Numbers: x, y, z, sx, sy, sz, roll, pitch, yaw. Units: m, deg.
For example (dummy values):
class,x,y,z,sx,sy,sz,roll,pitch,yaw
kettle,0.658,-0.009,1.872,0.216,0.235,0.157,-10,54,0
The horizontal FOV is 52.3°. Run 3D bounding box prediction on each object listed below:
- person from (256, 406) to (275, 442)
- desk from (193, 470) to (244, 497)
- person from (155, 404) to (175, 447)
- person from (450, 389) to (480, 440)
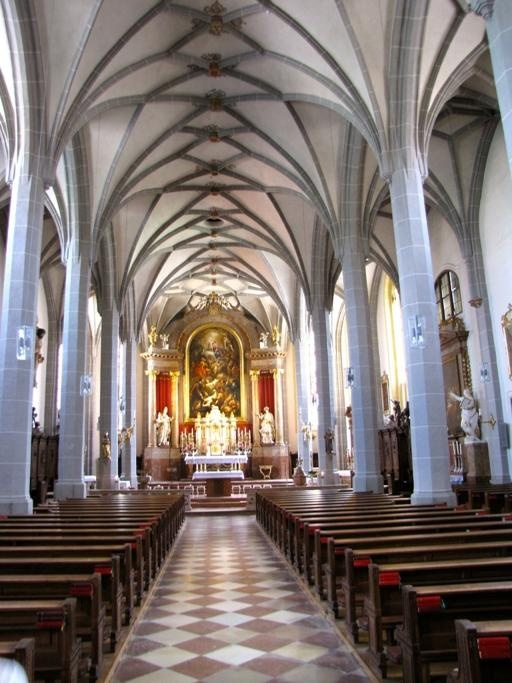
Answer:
class,x,y,z,sx,sy,sz,roll,pitch,yaw
person,0.548,4.603,28.471,0.829,1.992,0.752,-7,-11,19
desk,-1.326,5.405,20.004,1.592,0.932,1.570,-3,-11,-2
person,-4.992,4.595,28.574,0.933,2.261,1.387,-1,-11,-10
person,5.723,1.999,14.116,0.584,1.424,0.665,-8,-12,23
